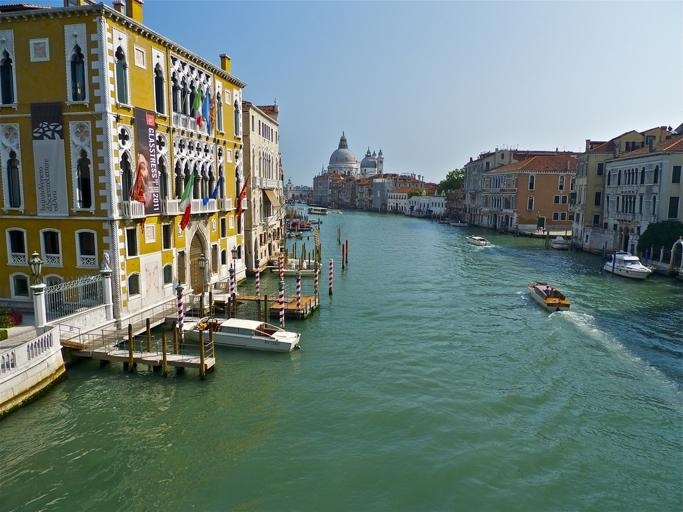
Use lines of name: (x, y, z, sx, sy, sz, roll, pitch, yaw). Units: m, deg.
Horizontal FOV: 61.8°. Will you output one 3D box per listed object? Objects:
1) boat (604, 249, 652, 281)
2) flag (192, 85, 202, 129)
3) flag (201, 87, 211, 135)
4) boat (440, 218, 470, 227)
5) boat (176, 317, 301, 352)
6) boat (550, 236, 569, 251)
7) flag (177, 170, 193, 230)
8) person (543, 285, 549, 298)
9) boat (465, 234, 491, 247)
boat: (27.834, 1.047, 55.068, 1.421, 2.008, 4.030, -2, 8, -13)
flag: (-10.233, -10.595, 40.859, 0.714, 2.793, 1.545, -2, 9, -14)
flag: (-9.779, -10.553, 41.626, 0.630, 3.322, 2.211, -2, 8, -12)
boat: (26.973, -7.807, 136.100, 1.982, 2.056, 8.250, -14, 20, -38)
boat: (-6.364, 5.453, 35.375, 7.138, 1.862, 2.716, 6, 1, 10)
boat: (30.364, -1.681, 79.627, 1.721, 1.174, 3.153, 2, 15, 14)
flag: (-10.355, -3.667, 38.300, 0.779, 4.018, 0.501, 21, 27, 8)
person: (16.073, 2.772, 44.754, 0.753, 0.678, 2.169, 3, 7, 18)
boat: (20.774, -2.164, 85.656, 1.472, 1.514, 5.343, -1, 13, -2)
